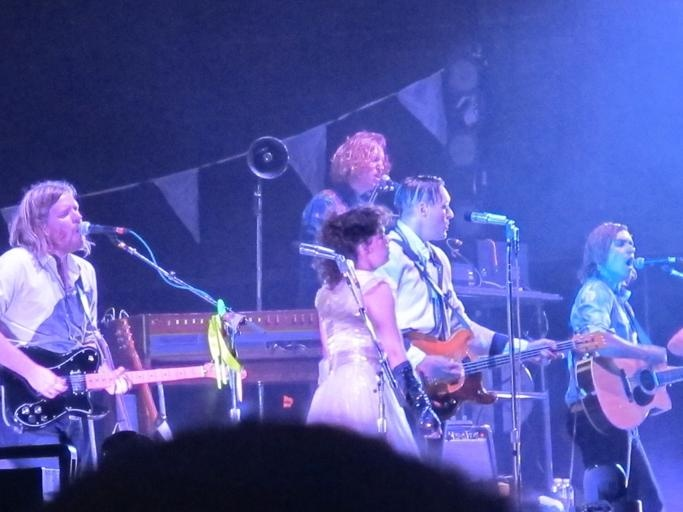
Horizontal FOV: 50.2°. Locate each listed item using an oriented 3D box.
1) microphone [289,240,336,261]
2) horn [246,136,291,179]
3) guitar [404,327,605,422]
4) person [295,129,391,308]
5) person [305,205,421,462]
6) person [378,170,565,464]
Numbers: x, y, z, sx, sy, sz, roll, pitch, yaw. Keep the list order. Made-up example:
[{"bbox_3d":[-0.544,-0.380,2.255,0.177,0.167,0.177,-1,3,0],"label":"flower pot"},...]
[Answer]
[{"bbox_3d":[-0.146,0.004,4.343,0.225,0.159,0.058,-3,-32,2],"label":"microphone"},{"bbox_3d":[-0.600,-0.804,6.009,0.314,0.317,0.177,-3,3,-1],"label":"horn"},{"bbox_3d":[1.048,0.823,5.821,1.786,0.718,1.207,-4,3,-30],"label":"guitar"},{"bbox_3d":[-0.039,-0.070,6.153,0.596,1.835,0.713,14,20,20],"label":"person"},{"bbox_3d":[0.110,0.424,4.251,0.630,1.422,0.717,-3,3,-8],"label":"person"},{"bbox_3d":[0.886,0.273,5.220,1.039,2.166,0.889,2,-5,-40],"label":"person"}]
